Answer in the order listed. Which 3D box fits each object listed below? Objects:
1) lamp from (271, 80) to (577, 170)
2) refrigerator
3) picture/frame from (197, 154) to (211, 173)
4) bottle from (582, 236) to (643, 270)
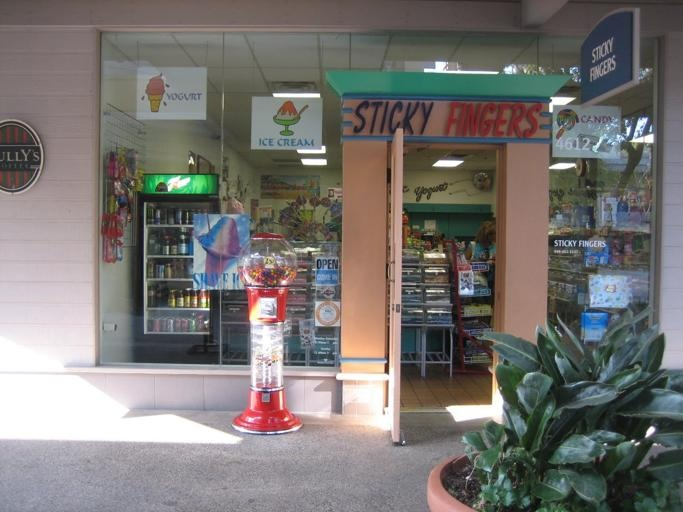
[{"bbox_3d":[1.016,-1.428,5.876,2.145,0.639,0.215,1,11,0],"label":"lamp"},{"bbox_3d":[-1.705,0.132,6.244,0.887,1.885,0.555,0,11,-3],"label":"refrigerator"},{"bbox_3d":[-1.406,-0.930,6.230,0.169,0.174,0.032,4,12,16],"label":"picture/frame"},{"bbox_3d":[2.780,-0.043,6.189,0.598,0.314,0.101,0,11,-7],"label":"bottle"}]
